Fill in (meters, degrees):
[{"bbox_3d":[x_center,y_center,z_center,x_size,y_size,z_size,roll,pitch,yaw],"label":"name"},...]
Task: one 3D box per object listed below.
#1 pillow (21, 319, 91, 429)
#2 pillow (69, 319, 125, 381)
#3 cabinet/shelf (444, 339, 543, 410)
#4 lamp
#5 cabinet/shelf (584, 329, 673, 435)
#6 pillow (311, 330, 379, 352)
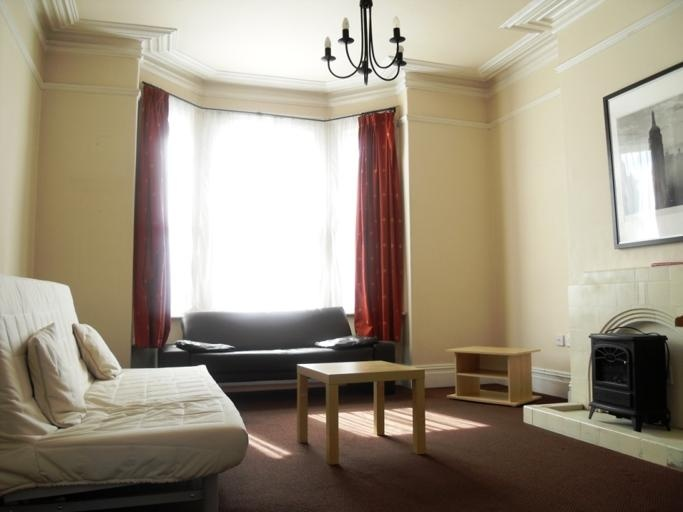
[{"bbox_3d":[-1.543,0.642,2.799,0.127,0.260,0.454,-27,13,-18],"label":"pillow"},{"bbox_3d":[-1.738,0.535,3.766,0.292,0.384,0.568,0,1,-28],"label":"pillow"},{"bbox_3d":[1.475,1.134,5.066,0.751,0.516,0.504,-1,-1,43],"label":"cabinet/shelf"},{"bbox_3d":[0.226,-2.029,4.897,0.741,0.821,0.763,-1,-9,6],"label":"lamp"},{"bbox_3d":[2.112,0.882,4.077,0.517,0.983,0.721,3,-6,-12],"label":"cabinet/shelf"},{"bbox_3d":[0.053,0.880,5.280,0.623,0.100,0.263,0,-1,-1],"label":"pillow"}]
